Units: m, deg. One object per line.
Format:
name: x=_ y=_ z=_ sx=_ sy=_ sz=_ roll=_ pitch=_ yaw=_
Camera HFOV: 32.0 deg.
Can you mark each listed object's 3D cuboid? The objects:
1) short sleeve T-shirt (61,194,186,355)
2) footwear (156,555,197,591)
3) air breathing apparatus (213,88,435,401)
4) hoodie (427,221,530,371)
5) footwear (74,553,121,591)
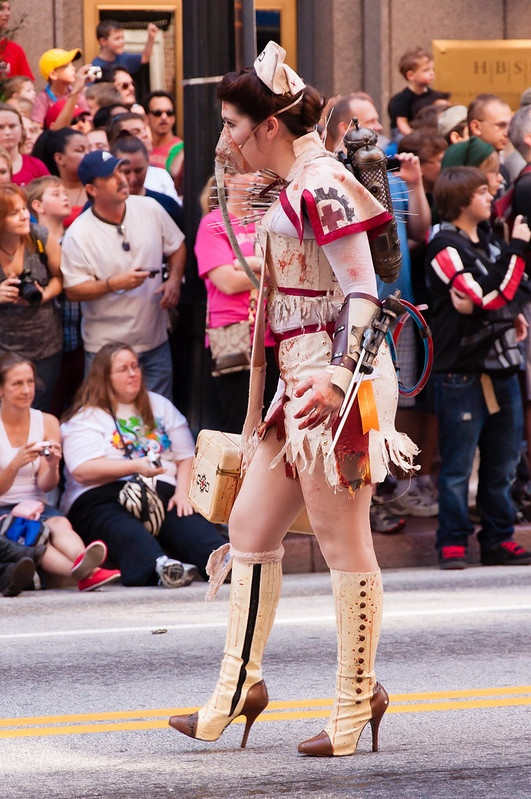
short sleeve T-shirt: x=-0.982 y=-0.838 z=6.235 sx=1.069 sy=1.096 sz=0.496 roll=-13 pitch=16 yaw=-34
footwear: x=-0.542 y=1.009 z=5.340 sx=0.126 sy=0.097 sz=0.295 roll=10 pitch=-6 yaw=36
air breathing apparatus: x=0.699 y=-0.895 z=5.367 sx=1.958 sy=1.676 sz=0.653 roll=-5 pitch=-3 yaw=3
hoodie: x=1.433 y=-0.574 z=6.117 sx=0.900 sy=1.103 sz=1.054 roll=-2 pitch=1 yaw=17
footwear: x=-0.948 y=1.010 z=5.353 sx=0.255 sy=0.093 sz=0.112 roll=-25 pitch=-7 yaw=21
